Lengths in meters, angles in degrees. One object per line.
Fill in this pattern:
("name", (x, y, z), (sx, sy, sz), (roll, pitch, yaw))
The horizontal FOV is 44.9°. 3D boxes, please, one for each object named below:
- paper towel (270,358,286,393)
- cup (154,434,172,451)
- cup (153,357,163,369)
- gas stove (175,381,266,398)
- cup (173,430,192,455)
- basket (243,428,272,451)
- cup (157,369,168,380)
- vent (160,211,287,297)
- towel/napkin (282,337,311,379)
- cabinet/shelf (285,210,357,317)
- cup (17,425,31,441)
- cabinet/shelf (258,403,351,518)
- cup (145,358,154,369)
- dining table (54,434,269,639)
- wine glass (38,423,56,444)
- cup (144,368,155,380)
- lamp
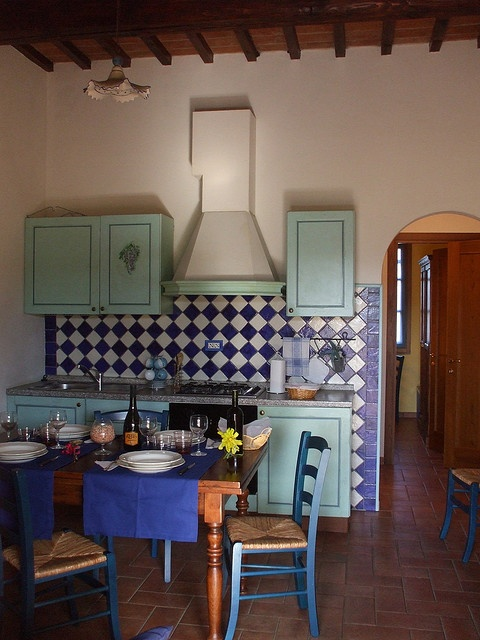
("paper towel", (0.258, 0.383, 4.008), (0.100, 0.228, 0.186), (1, 1, 2))
("cup", (-0.340, 0.551, 2.617), (0.076, 0.056, 0.061), (-1, 0, 32))
("cup", (-0.605, 0.320, 4.334), (0.074, 0.076, 0.074), (-2, 5, 0))
("gas stove", (-0.147, 0.479, 4.072), (0.622, 0.030, 0.630), (1, 1, 5))
("cup", (-0.256, 0.545, 2.575), (0.091, 0.088, 0.085), (-1, -1, 0))
("basket", (0.079, 0.554, 2.702), (0.090, 0.068, 0.111), (-3, -11, 10))
("cup", (-0.576, 0.409, 4.333), (0.079, 0.079, 0.070), (0, 1, -27))
("vent", (-0.117, -0.495, 4.211), (0.961, 0.614, 0.615), (0, 4, -1))
("towel/napkin", (0.406, 0.268, 4.190), (0.218, 0.267, 0.071), (1, 4, 8))
("cabinet/shelf", (0.699, -0.398, 4.086), (0.749, 0.694, 0.709), (0, 5, 0))
("cup", (-1.034, 0.549, 2.779), (0.056, 0.061, 0.072), (2, -8, -19))
("cabinet/shelf", (0.543, 0.959, 3.928), (0.292, 0.721, 0.649), (4, -20, 5))
("cup", (-0.678, 0.325, 4.355), (0.061, 0.070, 0.057), (5, 30, -3))
("dining table", (-0.253, 0.869, 2.480), (0.790, 0.483, 0.823), (-2, -2, 11))
("wine glass", (-0.907, 0.541, 2.772), (0.092, 0.088, 0.097), (1, -3, -14))
("cup", (-0.672, 0.413, 4.328), (0.070, 0.087, 0.087), (1, 1, -19))
("lamp", (-0.533, -1.084, 2.569), (0.259, 0.126, 0.263), (-21, 33, -38))
